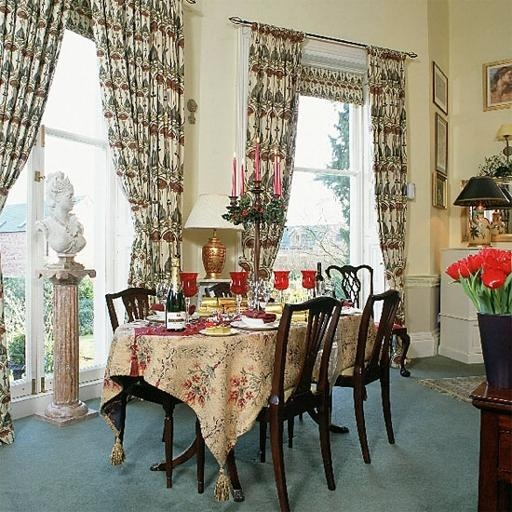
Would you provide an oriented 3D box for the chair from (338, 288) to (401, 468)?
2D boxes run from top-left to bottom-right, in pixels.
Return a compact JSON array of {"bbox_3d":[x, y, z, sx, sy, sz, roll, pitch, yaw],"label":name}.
[{"bbox_3d":[0.555,0.649,2.860,0.595,0.915,0.655,2,0,6],"label":"chair"}]

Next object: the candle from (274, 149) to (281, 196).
[{"bbox_3d":[0.114,-0.422,2.512,0.027,0.219,0.094,1,0,6],"label":"candle"}]

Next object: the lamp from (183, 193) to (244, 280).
[{"bbox_3d":[-0.370,-0.173,4.355,0.585,0.834,0.609,-2,2,-29],"label":"lamp"}]

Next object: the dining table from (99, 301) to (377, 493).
[{"bbox_3d":[-0.133,0.677,2.679,0.927,0.674,1.296,-1,1,36],"label":"dining table"}]

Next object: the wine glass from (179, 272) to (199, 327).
[{"bbox_3d":[-0.349,0.199,2.431,0.097,0.250,0.093,-5,14,-31],"label":"wine glass"}]

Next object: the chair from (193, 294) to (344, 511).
[{"bbox_3d":[0.216,0.609,2.667,0.777,1.440,0.814,-2,-5,35],"label":"chair"}]

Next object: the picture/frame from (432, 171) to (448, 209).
[{"bbox_3d":[2.268,-0.804,5.847,0.047,0.439,0.475,-2,-3,29],"label":"picture/frame"}]

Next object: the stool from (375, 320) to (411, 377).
[{"bbox_3d":[1.428,0.907,4.871,0.488,0.441,0.518,3,1,-6],"label":"stool"}]
